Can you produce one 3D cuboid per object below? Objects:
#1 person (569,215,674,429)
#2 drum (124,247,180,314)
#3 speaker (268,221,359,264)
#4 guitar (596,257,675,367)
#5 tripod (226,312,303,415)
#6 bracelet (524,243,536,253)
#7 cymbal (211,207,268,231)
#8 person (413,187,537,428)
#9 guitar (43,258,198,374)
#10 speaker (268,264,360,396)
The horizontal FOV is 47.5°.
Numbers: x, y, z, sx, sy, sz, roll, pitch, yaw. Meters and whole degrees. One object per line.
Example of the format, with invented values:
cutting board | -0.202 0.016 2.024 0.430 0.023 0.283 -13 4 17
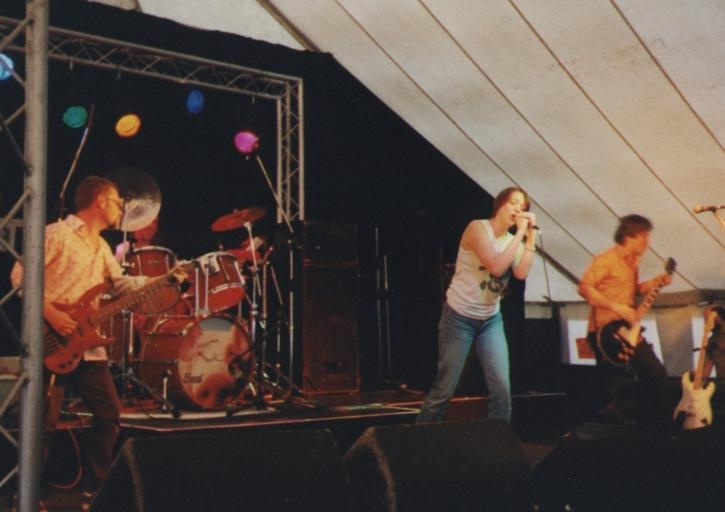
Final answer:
person | 2.174 0.636 6.787 0.735 1.801 0.646 0 -4 6
drum | -1.742 0.213 6.944 0.515 0.532 0.498 -3 -5 -6
speaker | -0.448 -0.110 7.471 0.789 0.375 0.308 -2 -7 -6
guitar | 2.211 0.476 6.619 0.373 1.031 0.144 33 4 14
tripod | -0.963 0.892 7.047 0.635 0.898 0.742 -7 -8 21
bracelet | 1.235 -0.055 6.006 0.106 0.081 0.109 1 1 0
cymbal | -1.067 -0.327 7.092 0.429 0.149 0.270 -8 -8 34
person | 0.854 0.311 5.968 0.942 1.687 0.432 1 -8 -30
guitar | -1.902 0.470 6.375 1.172 0.849 0.555 2 -8 -35
speaker | -0.563 0.700 8.002 0.970 1.826 0.935 0 -2 -5
